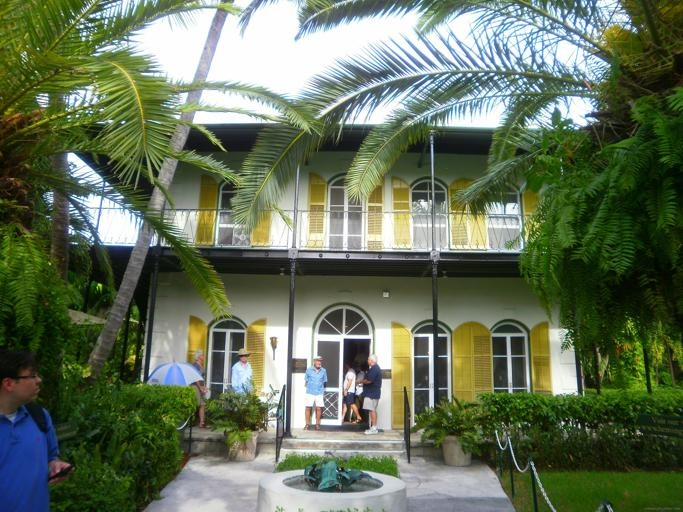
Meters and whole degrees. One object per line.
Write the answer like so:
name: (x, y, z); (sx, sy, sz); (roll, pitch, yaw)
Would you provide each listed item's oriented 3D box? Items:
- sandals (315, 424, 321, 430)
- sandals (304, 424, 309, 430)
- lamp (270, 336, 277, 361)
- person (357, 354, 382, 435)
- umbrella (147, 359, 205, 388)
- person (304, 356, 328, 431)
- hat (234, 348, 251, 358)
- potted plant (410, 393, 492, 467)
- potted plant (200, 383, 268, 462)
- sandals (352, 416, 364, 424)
sandals: (-0.558, 3.943, 11.944); (0.078, 0.103, 0.251); (0, -15, -2)
sandals: (-0.820, 3.988, 12.043); (0.074, 0.098, 0.235); (0, -21, 3)
lamp: (-1.775, 2.381, 13.492); (0.151, 0.591, 0.176); (-13, -20, 41)
person: (0.644, 3.090, 11.671); (0.441, 1.745, 0.750); (1, -15, 1)
umbrella: (-3.569, 2.587, 11.420); (0.854, 0.403, 0.909); (-2, -8, 8)
person: (-0.626, 3.158, 11.934); (0.573, 1.622, 0.475); (-11, -19, 37)
hat: (-2.305, 2.260, 12.172); (0.354, 0.169, 0.415); (-1, -13, 3)
potted plant: (2.089, 3.361, 9.881); (1.133, 0.982, 1.165); (3, -21, -3)
potted plant: (-2.014, 3.416, 10.423); (1.313, 1.498, 1.270); (-19, -27, 31)
sandals: (0.399, 4.234, 13.353); (0.133, 0.105, 0.369); (-4, -25, 13)
